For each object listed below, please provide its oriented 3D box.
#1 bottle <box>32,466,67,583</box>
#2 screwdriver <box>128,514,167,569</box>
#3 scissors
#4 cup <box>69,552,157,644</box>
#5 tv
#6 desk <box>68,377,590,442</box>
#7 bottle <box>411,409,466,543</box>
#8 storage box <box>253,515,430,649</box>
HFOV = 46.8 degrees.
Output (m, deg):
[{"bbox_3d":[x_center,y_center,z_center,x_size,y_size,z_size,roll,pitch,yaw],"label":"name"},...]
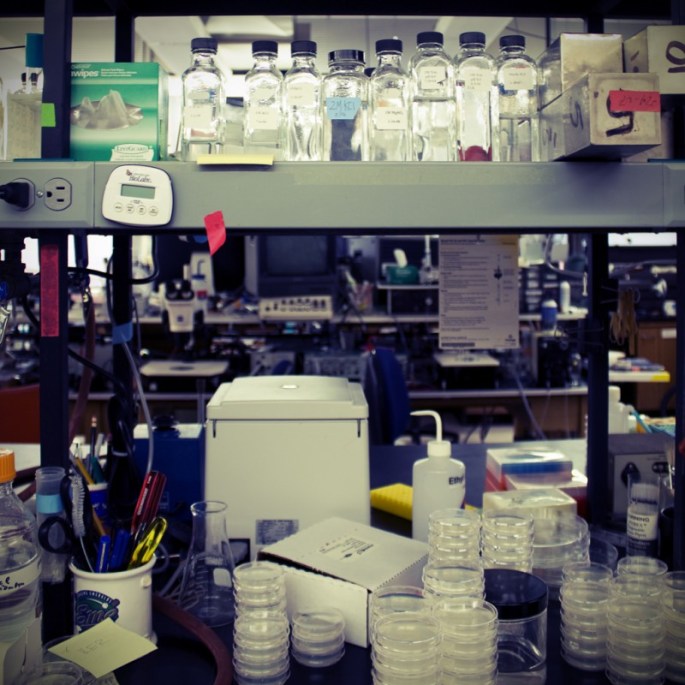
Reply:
[{"bbox_3d":[-0.399,0.254,1.113,0.036,0.151,0.061,1,12,2],"label":"bottle"},{"bbox_3d":[-0.269,0.282,1.114,0.021,0.107,0.033,9,-23,15],"label":"screwdriver"},{"bbox_3d":[-0.390,0.236,1.104,0.060,0.172,0.064,0,1,-8],"label":"scissors"},{"bbox_3d":[-0.308,0.344,1.076,0.091,0.113,0.097,0,1,0],"label":"cup"},{"bbox_3d":[-0.258,-0.417,4.253,0.490,0.419,0.298,0,1,0],"label":"tv"},{"bbox_3d":[0.007,0.213,2.730,1.286,0.333,0.630,-1,9,-14],"label":"desk"},{"bbox_3d":[0.159,0.231,1.338,0.076,0.243,0.081,3,10,0],"label":"bottle"},{"bbox_3d":[0.003,0.314,1.125,0.146,0.082,0.154,7,11,32],"label":"storage box"}]
